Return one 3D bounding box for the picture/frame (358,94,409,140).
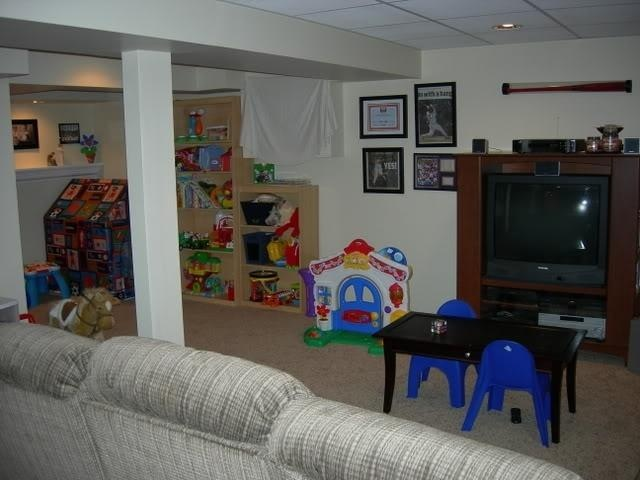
[{"bbox_3d":[0.811,-1.542,6.226,0.619,0.508,0.050,1,5,23],"label":"picture/frame"}]

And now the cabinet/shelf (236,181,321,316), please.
[{"bbox_3d":[-0.588,0.065,6.945,1.113,1.492,0.660,4,-2,29],"label":"cabinet/shelf"}]

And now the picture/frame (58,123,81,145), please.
[{"bbox_3d":[-4.697,-1.984,9.327,0.430,0.422,0.045,-3,2,-25],"label":"picture/frame"}]

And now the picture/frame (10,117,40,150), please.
[{"bbox_3d":[-5.255,-1.858,8.833,0.063,0.560,0.617,10,13,15],"label":"picture/frame"}]

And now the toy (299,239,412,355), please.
[{"bbox_3d":[0.419,0.590,5.654,1.251,1.103,0.742,0,3,32],"label":"toy"}]

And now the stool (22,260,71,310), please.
[{"bbox_3d":[-4.099,0.653,7.377,0.629,0.497,0.640,2,3,43],"label":"stool"}]

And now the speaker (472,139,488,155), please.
[{"bbox_3d":[1.731,-0.999,5.431,0.140,0.154,0.248,3,7,25],"label":"speaker"}]

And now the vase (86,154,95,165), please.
[{"bbox_3d":[-4.206,-1.494,9.166,0.140,0.216,0.417,6,-2,-21],"label":"vase"}]

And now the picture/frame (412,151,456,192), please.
[{"bbox_3d":[1.383,-0.826,6.007,0.491,0.404,0.041,5,8,28],"label":"picture/frame"}]

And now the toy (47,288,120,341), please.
[{"bbox_3d":[-2.282,0.733,4.827,0.633,0.612,0.412,9,9,9],"label":"toy"}]

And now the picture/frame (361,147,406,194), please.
[{"bbox_3d":[0.811,-0.883,6.290,0.582,0.580,0.045,5,10,29],"label":"picture/frame"}]

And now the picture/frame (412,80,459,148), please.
[{"bbox_3d":[1.365,-1.477,5.961,0.509,0.531,0.167,4,-2,26],"label":"picture/frame"}]

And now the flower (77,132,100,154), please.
[{"bbox_3d":[-4.215,-1.767,9.167,0.349,0.463,0.187,-2,-7,20],"label":"flower"}]

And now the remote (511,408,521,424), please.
[{"bbox_3d":[1.567,1.411,4.019,0.073,0.024,0.103,-1,40,19],"label":"remote"}]

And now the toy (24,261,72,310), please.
[{"bbox_3d":[-4.079,0.647,7.398,0.639,0.460,0.617,-16,11,-43],"label":"toy"}]
